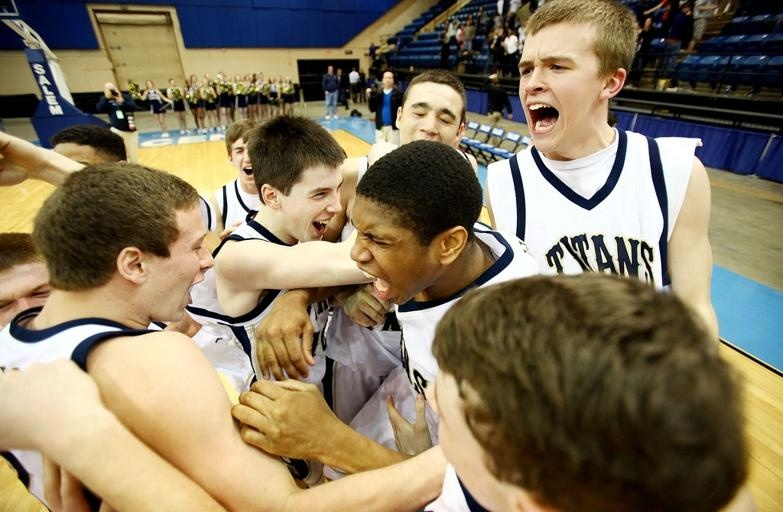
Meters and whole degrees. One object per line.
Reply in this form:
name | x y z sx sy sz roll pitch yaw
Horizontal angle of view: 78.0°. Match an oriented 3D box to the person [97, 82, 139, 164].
person | -5.812 -2.830 10.292 0.633 1.659 0.531 -14 41 -21
